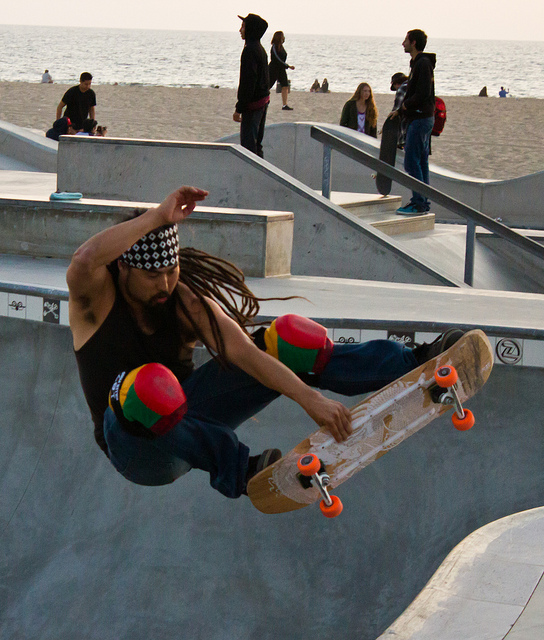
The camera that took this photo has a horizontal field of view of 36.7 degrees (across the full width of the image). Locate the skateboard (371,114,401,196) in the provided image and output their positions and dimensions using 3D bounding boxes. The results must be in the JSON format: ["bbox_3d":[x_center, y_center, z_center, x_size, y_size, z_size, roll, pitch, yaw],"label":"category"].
[{"bbox_3d":[1.151,-1.666,8.261,0.245,0.810,0.265,14,33,22],"label":"skateboard"}]

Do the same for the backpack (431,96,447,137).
[{"bbox_3d":[1.584,-1.968,7.830,0.153,0.313,0.212,2,16,11],"label":"backpack"}]

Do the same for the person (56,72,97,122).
[{"bbox_3d":[-2.566,-2.921,10.824,0.448,0.615,0.700,-15,4,-12],"label":"person"}]

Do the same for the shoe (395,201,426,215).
[{"bbox_3d":[1.394,-1.137,8.357,0.302,0.149,0.119,3,6,0],"label":"shoe"}]

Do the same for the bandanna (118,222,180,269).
[{"bbox_3d":[-0.365,-0.228,2.489,0.134,0.105,0.142,-19,13,-29],"label":"bandanna"}]
